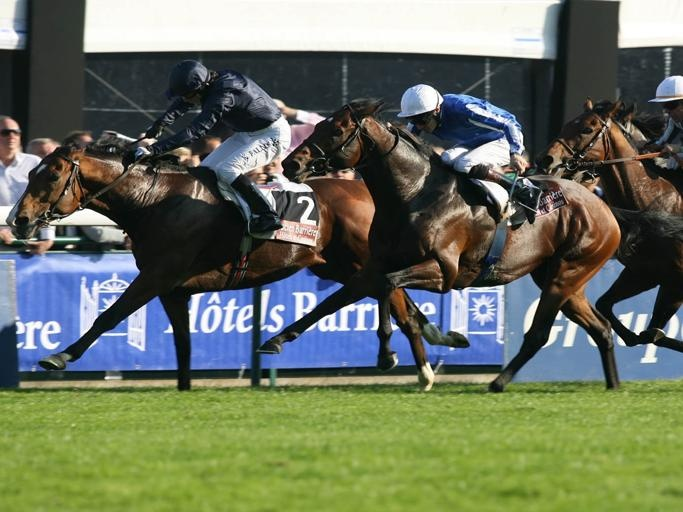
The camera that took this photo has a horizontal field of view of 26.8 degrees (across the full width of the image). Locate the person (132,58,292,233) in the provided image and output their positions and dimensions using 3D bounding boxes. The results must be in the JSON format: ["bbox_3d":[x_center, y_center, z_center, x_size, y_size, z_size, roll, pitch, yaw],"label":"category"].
[{"bbox_3d":[-0.897,-0.897,11.229,1.618,1.383,1.203,0,15,-21],"label":"person"}]

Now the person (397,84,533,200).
[{"bbox_3d":[0.934,-0.999,11.380,1.042,0.678,1.174,5,-2,-24],"label":"person"}]

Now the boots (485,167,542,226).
[{"bbox_3d":[1.403,-0.511,11.176,0.468,0.389,0.212,6,-29,-34],"label":"boots"}]

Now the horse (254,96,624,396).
[{"bbox_3d":[0.924,-0.025,11.430,3.613,2.066,0.843,8,-6,-38],"label":"horse"}]

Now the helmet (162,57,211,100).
[{"bbox_3d":[-1.208,-1.391,11.138,0.359,0.290,0.197,2,1,7],"label":"helmet"}]

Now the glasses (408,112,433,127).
[{"bbox_3d":[0.625,-1.076,11.123,0.117,0.071,0.151,-16,9,29],"label":"glasses"}]

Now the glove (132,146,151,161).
[{"bbox_3d":[-1.549,-0.800,11.035,0.114,0.095,0.116,0,-5,35],"label":"glove"}]

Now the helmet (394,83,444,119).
[{"bbox_3d":[0.624,-1.226,11.126,0.341,0.144,0.241,-13,6,-40],"label":"helmet"}]
